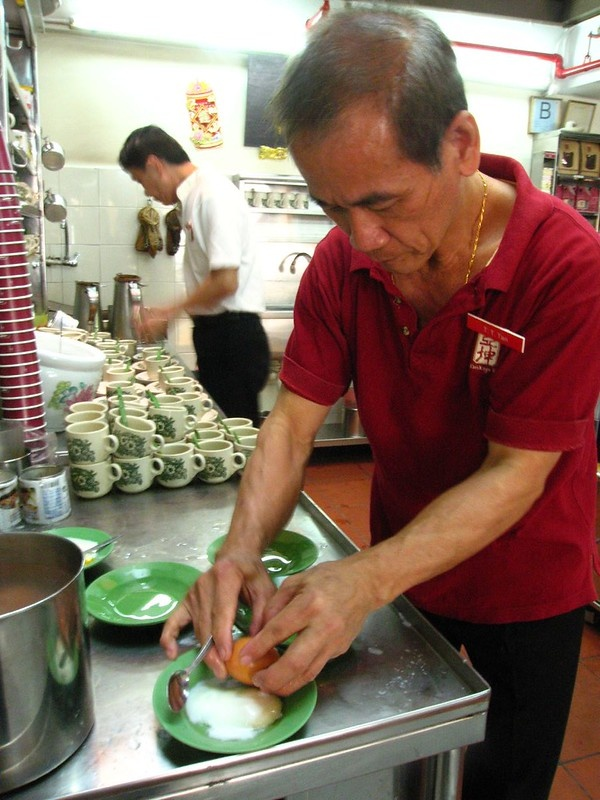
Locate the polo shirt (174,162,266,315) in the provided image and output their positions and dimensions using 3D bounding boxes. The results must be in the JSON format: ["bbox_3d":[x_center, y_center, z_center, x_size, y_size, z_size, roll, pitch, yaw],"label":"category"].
[{"bbox_3d":[-0.333,-0.730,2.763,0.405,0.659,0.346,-4,22,-21],"label":"polo shirt"}]

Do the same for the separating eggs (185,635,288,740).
[{"bbox_3d":[-0.071,0.332,0.683,0.065,0.034,0.060,-3,17,-21],"label":"separating eggs"}]
